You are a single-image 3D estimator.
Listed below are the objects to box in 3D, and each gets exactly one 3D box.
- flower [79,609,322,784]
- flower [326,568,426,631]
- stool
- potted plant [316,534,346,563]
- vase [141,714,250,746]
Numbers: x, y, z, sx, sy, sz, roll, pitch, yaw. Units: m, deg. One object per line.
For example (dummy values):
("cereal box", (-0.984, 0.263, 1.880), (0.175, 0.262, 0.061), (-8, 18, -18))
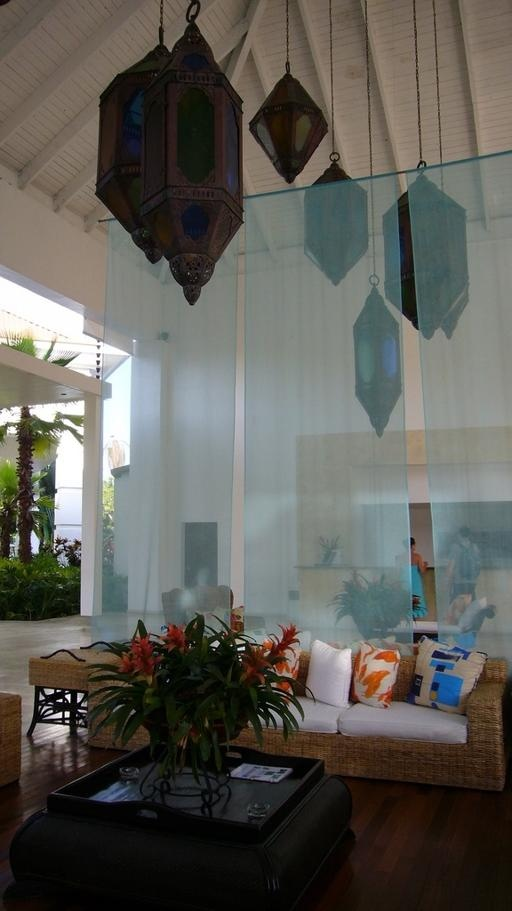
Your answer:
("flower", (-0.167, 0.786, 1.970), (0.624, 0.525, 0.624), (4, -3, -4))
("flower", (0.674, 0.846, 3.453), (0.332, 0.280, 0.350), (-2, -8, 33))
("stool", (-1.341, 1.601, 4.110), (0.359, 0.484, 0.687), (9, -20, -21))
("potted plant", (0.423, 0.543, 3.531), (0.128, 0.156, 0.134), (1, -11, 2))
("vase", (-0.191, 0.818, 1.834), (0.179, 0.076, 0.207), (-2, -10, 11))
